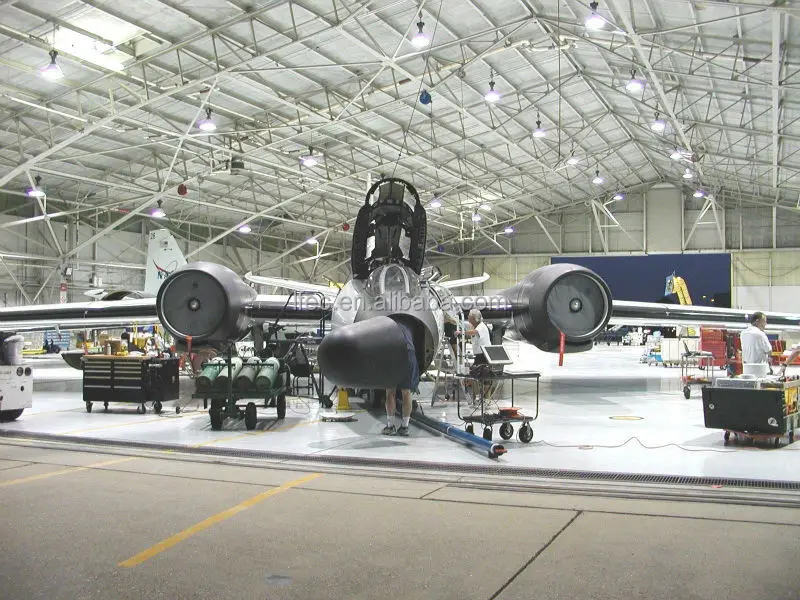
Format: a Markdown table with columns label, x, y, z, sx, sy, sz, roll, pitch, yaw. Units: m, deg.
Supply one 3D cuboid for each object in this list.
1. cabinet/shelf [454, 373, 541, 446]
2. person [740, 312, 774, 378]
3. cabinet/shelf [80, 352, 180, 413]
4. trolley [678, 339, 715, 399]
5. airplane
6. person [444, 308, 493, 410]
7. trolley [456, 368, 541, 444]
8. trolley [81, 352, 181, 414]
| label | x | y | z | sx | sy | sz | roll | pitch | yaw |
| --- | --- | --- | --- | --- | --- | --- | --- | --- | --- |
| cabinet/shelf | 2.187 | 2.123 | 12.004 | 1.012 | 0.871 | 1.057 | 4 | -14 | 41 |
| person | 7.190 | 0.790 | 12.426 | 0.468 | 1.112 | 3.466 | -3 | -3 | 30 |
| cabinet/shelf | -5.987 | 1.893 | 14.160 | 2.219 | 1.257 | 1.155 | -1 | -5 | 18 |
| trolley | 9.073 | 2.089 | 18.808 | 1.158 | 1.973 | 1.525 | -1 | 0 | 9 |
| airplane | -0.182 | -0.455 | 13.444 | 16.817 | 4.310 | 7.881 | -1 | -2 | -6 |
| person | 1.428 | 1.204 | 13.516 | 1.309 | 1.895 | 1.005 | 0 | -1 | 18 |
| trolley | 2.243 | 2.095 | 12.408 | 1.313 | 1.091 | 1.361 | 22 | -7 | 40 |
| trolley | -6.053 | 1.873 | 14.102 | 1.993 | 1.084 | 1.035 | -1 | -6 | 12 |
